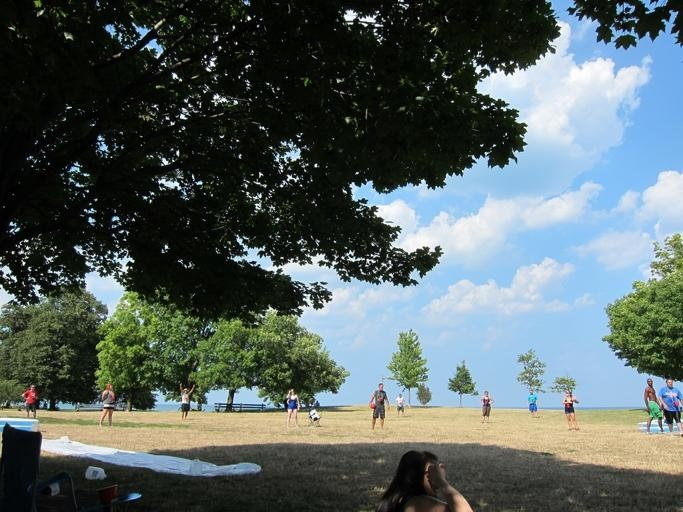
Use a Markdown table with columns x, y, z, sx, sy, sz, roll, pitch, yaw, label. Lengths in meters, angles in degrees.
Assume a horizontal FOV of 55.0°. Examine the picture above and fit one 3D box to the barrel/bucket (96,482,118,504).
| x | y | z | sx | sy | sz | roll | pitch | yaw | label |
| --- | --- | --- | --- | --- | --- | --- | --- | --- | --- |
| -5.000 | 5.077 | 14.109 | 0.459 | 0.373 | 0.494 | -14 | -24 | -6 | barrel/bucket |
